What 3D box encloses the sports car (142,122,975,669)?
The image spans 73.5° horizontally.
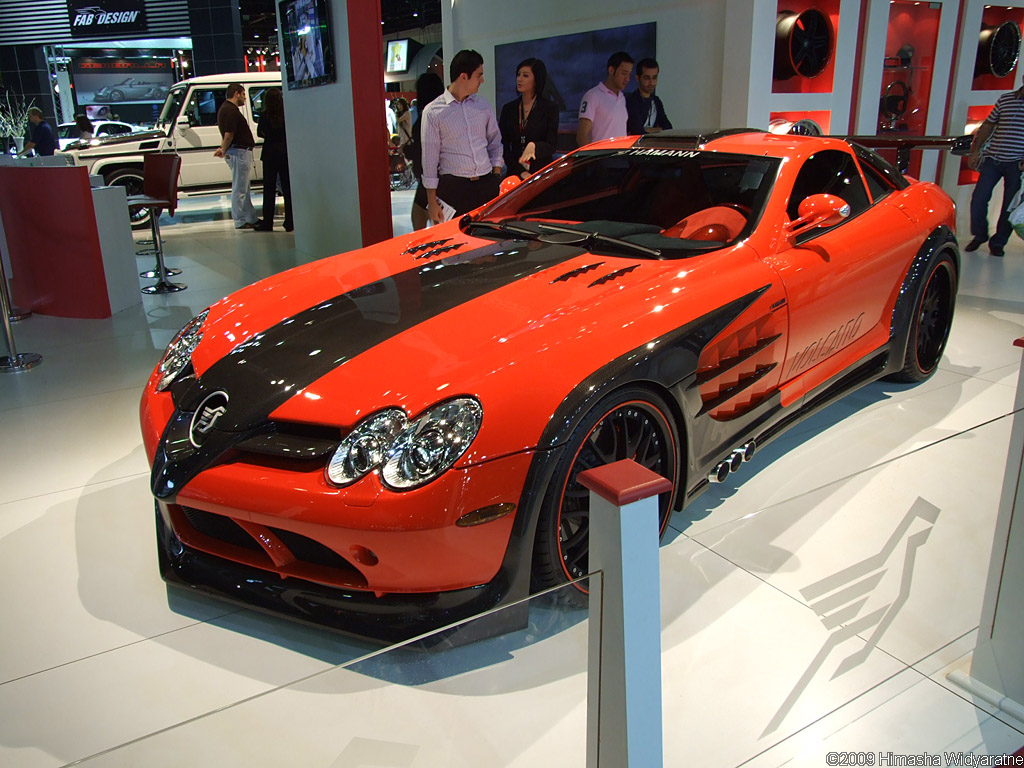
[{"bbox_3d":[0.505,0.046,2.972,1.751,1.046,3.494,20,33,38],"label":"sports car"}]
